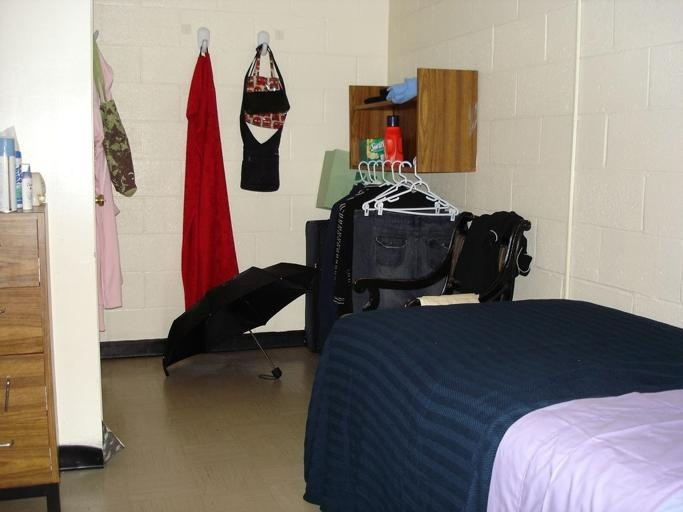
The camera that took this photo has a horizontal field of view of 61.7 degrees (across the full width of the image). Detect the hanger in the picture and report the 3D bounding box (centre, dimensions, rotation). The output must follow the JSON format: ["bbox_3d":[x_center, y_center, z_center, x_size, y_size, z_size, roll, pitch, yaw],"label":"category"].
[{"bbox_3d":[0.402,-0.402,3.408,0.535,0.217,0.404,2,9,-7],"label":"hanger"}]

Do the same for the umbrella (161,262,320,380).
[{"bbox_3d":[-0.619,0.389,3.518,0.945,0.600,0.363,-4,11,-20],"label":"umbrella"}]

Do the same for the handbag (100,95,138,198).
[{"bbox_3d":[-1.500,-0.710,3.852,0.193,0.656,0.525,-3,11,-20],"label":"handbag"}]

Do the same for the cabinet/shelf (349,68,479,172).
[{"bbox_3d":[0.435,-0.877,3.790,0.434,0.612,1.128,-4,12,-21],"label":"cabinet/shelf"}]
